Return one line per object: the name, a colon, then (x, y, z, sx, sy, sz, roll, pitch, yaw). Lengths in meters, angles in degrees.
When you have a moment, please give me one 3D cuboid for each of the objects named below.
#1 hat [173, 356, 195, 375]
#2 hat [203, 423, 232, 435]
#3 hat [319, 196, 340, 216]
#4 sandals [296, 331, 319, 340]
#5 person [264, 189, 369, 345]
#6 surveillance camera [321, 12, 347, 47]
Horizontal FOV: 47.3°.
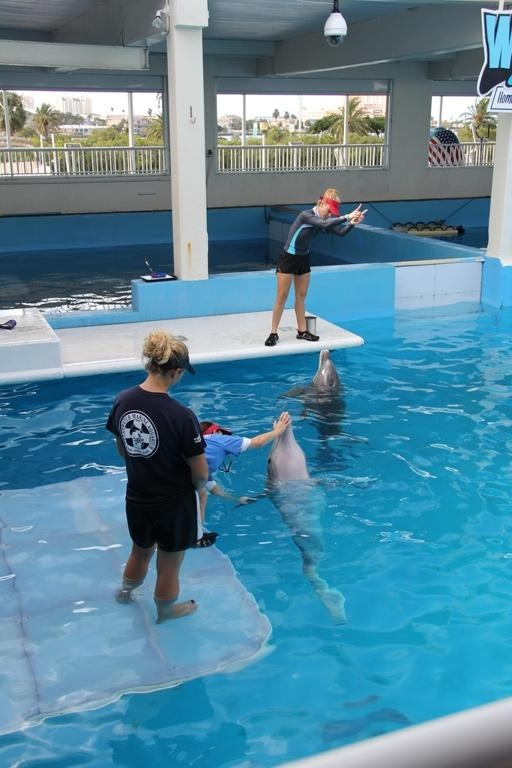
hat: (-0.322, -0.077, 2.590, 0.106, 0.041, 0.066, 11, 14, -44)
hat: (-0.246, 0.274, 3.545, 0.128, 0.057, 0.079, 3, 3, -21)
hat: (0.874, -2.117, 6.954, 0.213, 0.219, 0.353, 0, 13, 5)
sandals: (0.630, -0.600, 7.220, 0.279, 0.113, 0.104, 4, 16, 7)
person: (0.705, -1.470, 7.255, 1.063, 2.097, 0.858, 8, 18, -5)
surveillance camera: (1.019, -4.599, 7.515, 0.237, 0.443, 0.552, 1, 14, 10)
